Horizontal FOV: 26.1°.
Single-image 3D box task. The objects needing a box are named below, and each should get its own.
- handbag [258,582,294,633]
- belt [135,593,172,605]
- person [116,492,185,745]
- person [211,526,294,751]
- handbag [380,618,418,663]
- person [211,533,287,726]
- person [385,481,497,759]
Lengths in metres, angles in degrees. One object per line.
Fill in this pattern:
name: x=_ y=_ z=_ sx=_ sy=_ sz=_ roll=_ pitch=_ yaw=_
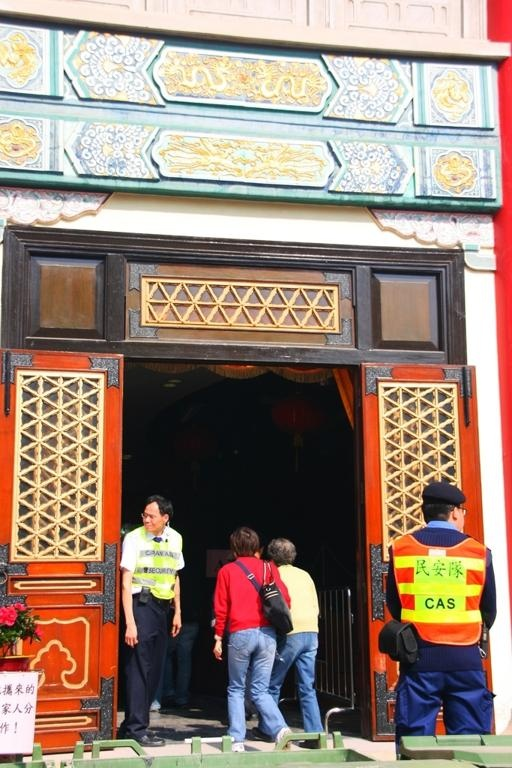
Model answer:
handbag: x=0.119 y=1.372 z=6.739 sx=0.145 sy=0.373 sz=0.272 roll=-19 pitch=-8 yaw=-5
belt: x=-0.655 y=1.376 z=7.053 sx=0.146 sy=0.053 sz=0.106 roll=7 pitch=4 yaw=-16
person: x=-0.650 y=1.499 z=7.085 sx=0.534 sy=1.541 sz=0.385 roll=5 pitch=-15 yaw=-30
person: x=-0.005 y=1.534 z=6.763 sx=0.476 sy=1.331 sz=0.476 roll=-2 pitch=-13 yaw=-2
handbag: x=0.652 y=1.183 z=5.044 sx=0.165 sy=0.201 sz=0.150 roll=5 pitch=-15 yaw=-31
person: x=-0.015 y=1.571 z=6.903 sx=0.484 sy=1.354 sz=0.429 roll=3 pitch=-3 yaw=-3
person: x=0.900 y=1.198 z=5.292 sx=0.472 sy=1.432 sz=0.474 roll=0 pitch=4 yaw=9
